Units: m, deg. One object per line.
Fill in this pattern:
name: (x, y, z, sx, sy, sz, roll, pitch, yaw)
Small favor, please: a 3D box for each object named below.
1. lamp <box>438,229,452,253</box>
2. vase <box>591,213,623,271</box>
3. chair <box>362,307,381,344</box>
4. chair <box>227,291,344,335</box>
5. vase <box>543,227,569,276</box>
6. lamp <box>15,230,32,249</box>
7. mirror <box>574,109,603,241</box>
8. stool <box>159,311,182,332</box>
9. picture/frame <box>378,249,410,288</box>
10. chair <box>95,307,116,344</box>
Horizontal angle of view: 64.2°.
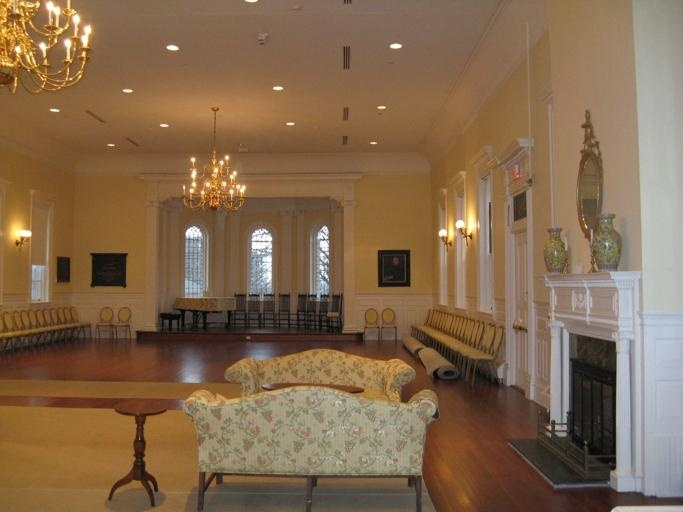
lamp: (2.640, -0.457, 13.755, 0.268, 0.646, 1.372, -2, -4, 8)
vase: (2.523, -0.132, 5.193, 0.248, 0.536, 0.151, -3, -3, 27)
chair: (0.880, 1.920, 15.545, 0.496, 0.907, 0.340, -2, -3, 1)
chair: (-1.733, 1.808, 18.051, 4.221, 1.235, 1.812, -5, -5, 33)
vase: (2.457, -0.060, 6.249, 0.362, 0.507, 0.378, -1, 10, 30)
lamp: (-8.004, -0.438, 13.759, 0.127, 0.452, 0.505, -2, -3, 9)
mirror: (2.606, -0.848, 5.723, 0.111, 1.370, 0.393, -1, -3, -3)
stool: (-5.221, 1.928, 16.606, 0.471, 0.799, 0.852, -1, 0, -26)
picture/frame: (1.549, 0.389, 15.723, 0.943, 1.181, 0.087, 0, -4, 0)
chair: (-6.848, 1.907, 15.752, 0.669, 0.924, 0.429, -2, -3, 1)
